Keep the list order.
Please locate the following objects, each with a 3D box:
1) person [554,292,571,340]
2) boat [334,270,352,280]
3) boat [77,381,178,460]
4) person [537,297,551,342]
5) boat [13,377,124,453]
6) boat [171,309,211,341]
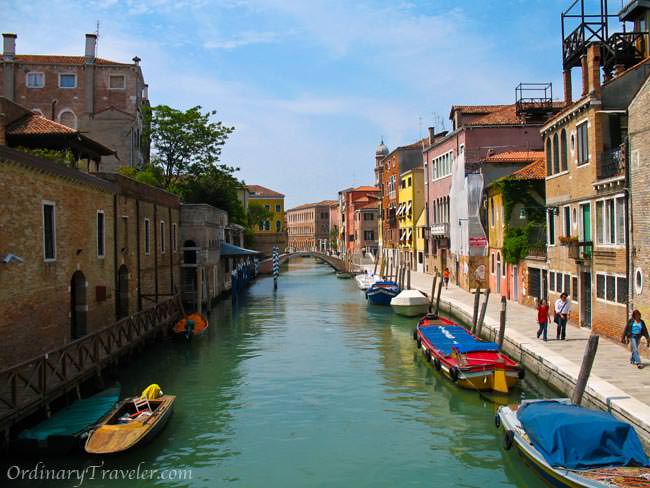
[{"bbox_3d":[10.345,3.084,26.471,0.511,2.035,1.061,4,6,20],"label":"person"},{"bbox_3d":[2.460,3.907,76.593,2.021,0.518,7.818,3,5,0],"label":"boat"},{"bbox_3d":[-6.426,5.775,19.574,1.374,1.257,4.084,-2,5,2],"label":"boat"},{"bbox_3d":[9.529,3.273,26.435,0.490,1.708,1.035,4,6,21],"label":"person"},{"bbox_3d":[-8.110,5.390,18.914,1.718,0.907,4.397,-2,6,1],"label":"boat"},{"bbox_3d":[-7.273,4.480,32.886,1.181,0.997,2.081,4,6,15],"label":"boat"}]
